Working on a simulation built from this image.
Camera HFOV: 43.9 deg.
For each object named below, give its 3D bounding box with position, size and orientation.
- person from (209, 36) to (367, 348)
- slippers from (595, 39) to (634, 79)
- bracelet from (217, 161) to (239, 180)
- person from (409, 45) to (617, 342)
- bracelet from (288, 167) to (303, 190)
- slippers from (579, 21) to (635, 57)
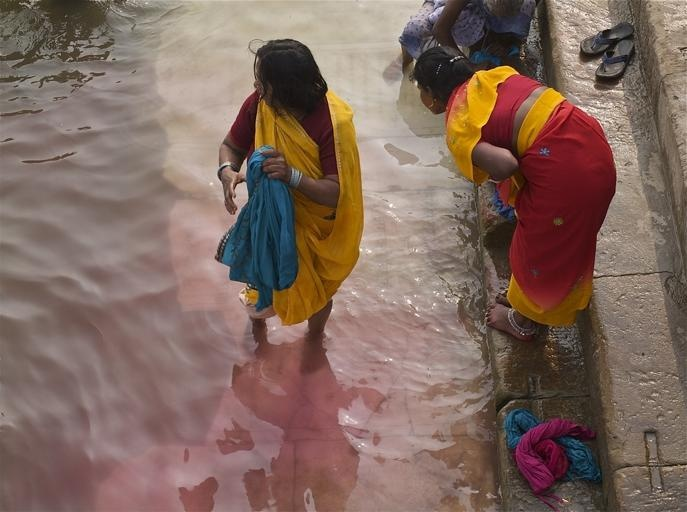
[{"bbox_3d":[-0.317,-0.293,5.056,0.816,1.872,0.845,-20,48,-23],"label":"person"},{"bbox_3d":[1.875,-1.353,5.844,0.171,0.098,0.399,29,65,31],"label":"slippers"},{"bbox_3d":[-0.708,-0.519,5.034,0.041,0.105,0.108,44,58,14],"label":"bracelet"},{"bbox_3d":[1.002,-0.306,5.019,0.565,1.452,1.282,-32,53,-32],"label":"person"},{"bbox_3d":[-0.263,-0.437,4.744,0.061,0.098,0.082,-4,42,6],"label":"bracelet"},{"bbox_3d":[1.845,-1.514,5.939,0.439,0.106,0.176,-24,58,13],"label":"slippers"}]
